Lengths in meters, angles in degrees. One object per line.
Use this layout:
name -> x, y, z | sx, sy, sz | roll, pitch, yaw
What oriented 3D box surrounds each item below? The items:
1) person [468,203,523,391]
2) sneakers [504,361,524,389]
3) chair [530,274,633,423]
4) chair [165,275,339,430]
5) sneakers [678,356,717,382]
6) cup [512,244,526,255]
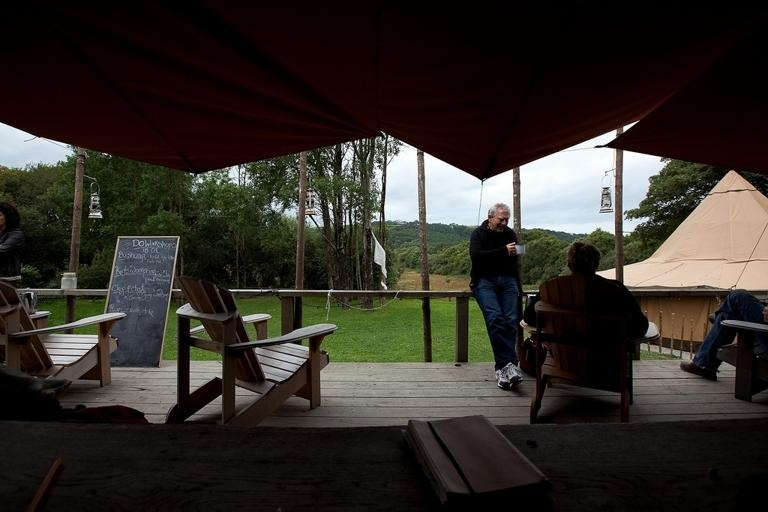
person -> 1.051, 0.337, 4.964 | 0.471, 1.814, 0.473 | -2, -15, 13
sneakers -> 1.178, 1.057, 4.630 | 0.121, 0.207, 0.211 | -11, -18, 38
chair -> 1.565, 0.733, 3.986 | 0.983, 0.830, 0.732 | 23, -17, -37
chair -> -0.984, 0.712, 4.054 | 0.941, 0.955, 1.196 | 1, 0, 35
sneakers -> 2.984, 1.087, 4.984 | 0.086, 0.100, 0.263 | -5, 14, -28
cup -> 1.261, -0.053, 4.848 | 0.125, 0.084, 0.095 | -2, 2, 0
